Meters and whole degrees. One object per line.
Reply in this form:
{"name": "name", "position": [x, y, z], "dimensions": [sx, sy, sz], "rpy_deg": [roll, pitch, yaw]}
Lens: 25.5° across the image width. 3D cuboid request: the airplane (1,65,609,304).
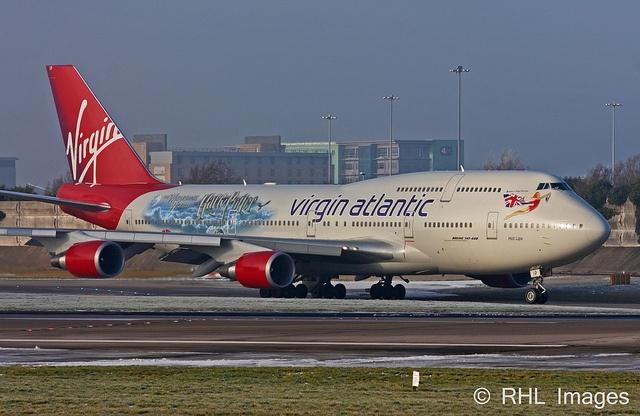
{"name": "airplane", "position": [-1.821, -1.746, 67.736], "dimensions": [28.594, 12.418, 16.990], "rpy_deg": [-4, -15, 30]}
